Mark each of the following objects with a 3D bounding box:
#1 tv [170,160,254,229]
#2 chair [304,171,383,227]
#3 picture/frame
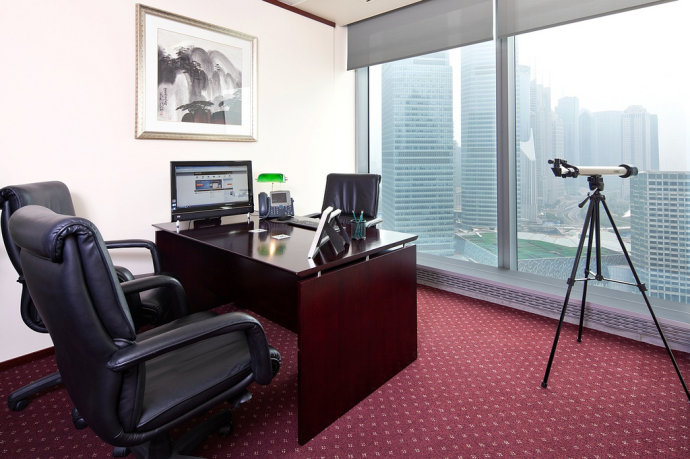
[{"bbox_3d":[-1.294,-0.363,4.445,0.821,0.619,0.197,-8,19,-38],"label":"tv"},{"bbox_3d":[0.052,-0.299,5.043,0.594,0.871,0.574,2,3,26],"label":"chair"},{"bbox_3d":[-1.495,-1.487,4.531,1.212,1.116,0.077,4,7,-44],"label":"picture/frame"}]
